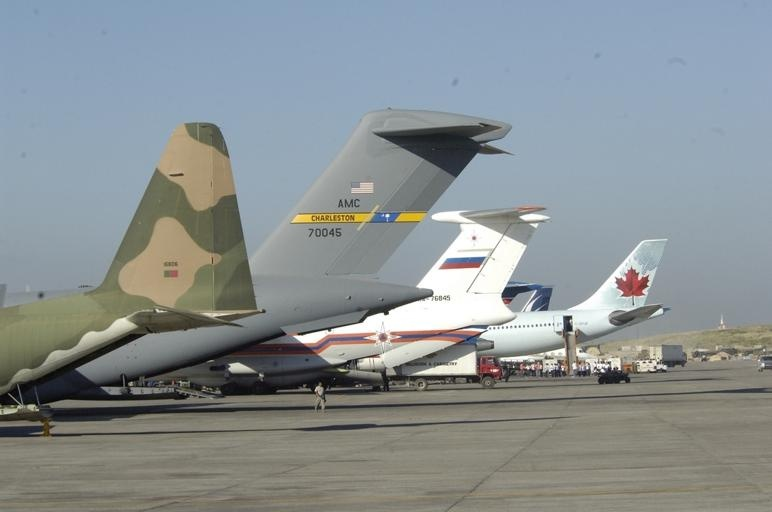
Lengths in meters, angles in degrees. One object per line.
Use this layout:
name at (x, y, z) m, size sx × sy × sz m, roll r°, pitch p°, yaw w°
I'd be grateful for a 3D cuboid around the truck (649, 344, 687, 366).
truck at (30.422, 10.603, 106.113) m, size 2.961 × 2.150 × 5.060 m, roll 0°, pitch 1°, yaw 22°
